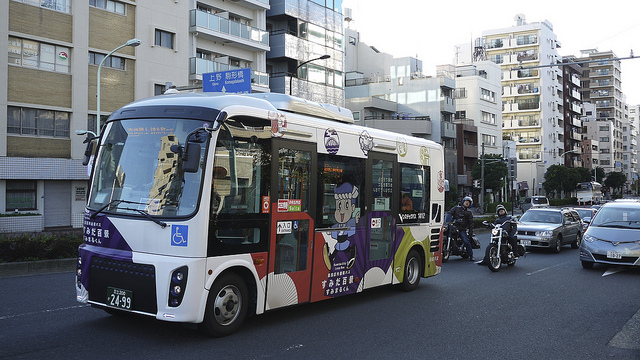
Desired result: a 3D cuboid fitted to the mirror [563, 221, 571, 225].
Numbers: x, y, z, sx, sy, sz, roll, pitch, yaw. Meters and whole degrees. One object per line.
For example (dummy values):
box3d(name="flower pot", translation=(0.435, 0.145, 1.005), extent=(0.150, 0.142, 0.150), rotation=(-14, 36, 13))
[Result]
box3d(name="mirror", translation=(12.833, 2.227, 24.238), extent=(0.260, 0.090, 0.259), rotation=(-4, -11, 13))

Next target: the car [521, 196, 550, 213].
box3d(name="car", translation=(23.014, 2.537, 50.043), extent=(1.828, 1.526, 3.045), rotation=(-1, 6, -1))

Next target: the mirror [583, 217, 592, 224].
box3d(name="mirror", translation=(11.835, 1.769, 20.728), extent=(0.390, 0.204, 0.540), rotation=(0, 0, 21))

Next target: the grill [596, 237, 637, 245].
box3d(name="grill", translation=(11.214, 2.358, 17.721), extent=(1.161, 0.156, 0.246), rotation=(1, 1, 35))

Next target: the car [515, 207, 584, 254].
box3d(name="car", translation=(11.803, 2.586, 24.198), extent=(4.557, 2.139, 1.753), rotation=(0, 1, -42))

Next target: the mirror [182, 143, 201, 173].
box3d(name="mirror", translation=(-2.751, -0.487, 9.984), extent=(0.372, 0.620, 0.152), rotation=(1, 1, -1))

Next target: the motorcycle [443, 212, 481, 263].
box3d(name="motorcycle", translation=(5.904, 2.483, 20.230), extent=(1.446, 1.799, 3.175), rotation=(-13, -13, 42))

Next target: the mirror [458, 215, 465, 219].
box3d(name="mirror", translation=(5.860, 1.511, 19.325), extent=(0.050, 0.150, 0.264), rotation=(0, 1, -28))

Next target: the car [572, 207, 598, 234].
box3d(name="car", translation=(13.437, 2.095, 23.772), extent=(1.202, 1.020, 2.117), rotation=(-7, -13, 36))

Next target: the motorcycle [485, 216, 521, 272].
box3d(name="motorcycle", translation=(6.998, 2.504, 18.231), extent=(0.779, 1.980, 2.014), rotation=(2, 2, 41))
